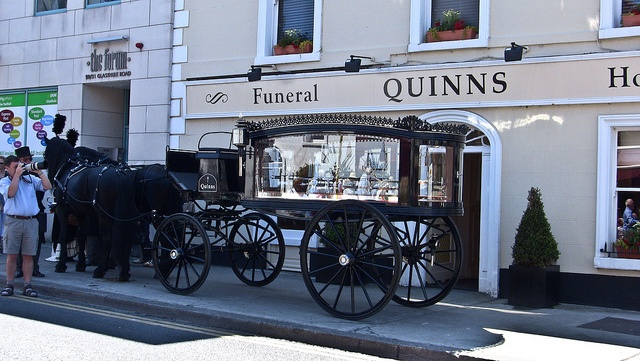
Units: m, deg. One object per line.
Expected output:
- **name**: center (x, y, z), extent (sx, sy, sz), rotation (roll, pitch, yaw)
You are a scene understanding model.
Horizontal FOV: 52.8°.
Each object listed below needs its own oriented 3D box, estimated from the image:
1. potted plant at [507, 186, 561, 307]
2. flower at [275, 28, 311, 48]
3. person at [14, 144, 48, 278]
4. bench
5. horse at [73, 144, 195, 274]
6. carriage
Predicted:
- **potted plant**: center (4.809, 1.466, 14.381), extent (1.085, 2.628, 0.430), rotation (1, -2, 7)
- **flower**: center (-0.730, -3.785, 17.226), extent (0.654, 0.343, 0.633), rotation (3, 12, 3)
- **person**: center (-6.978, 0.882, 15.586), extent (0.895, 3.797, 0.922), rotation (-2, -4, 45)
- **bench**: center (-2.491, -0.381, 14.988), extent (1.158, 1.376, 0.976), rotation (1, 0, -4)
- **horse**: center (-5.222, 0.624, 16.904), extent (1.307, 2.953, 4.503), rotation (2, 1, -42)
- **carriage**: center (0.501, 0.562, 13.570), extent (11.380, 4.133, 2.695), rotation (1, 0, 13)
